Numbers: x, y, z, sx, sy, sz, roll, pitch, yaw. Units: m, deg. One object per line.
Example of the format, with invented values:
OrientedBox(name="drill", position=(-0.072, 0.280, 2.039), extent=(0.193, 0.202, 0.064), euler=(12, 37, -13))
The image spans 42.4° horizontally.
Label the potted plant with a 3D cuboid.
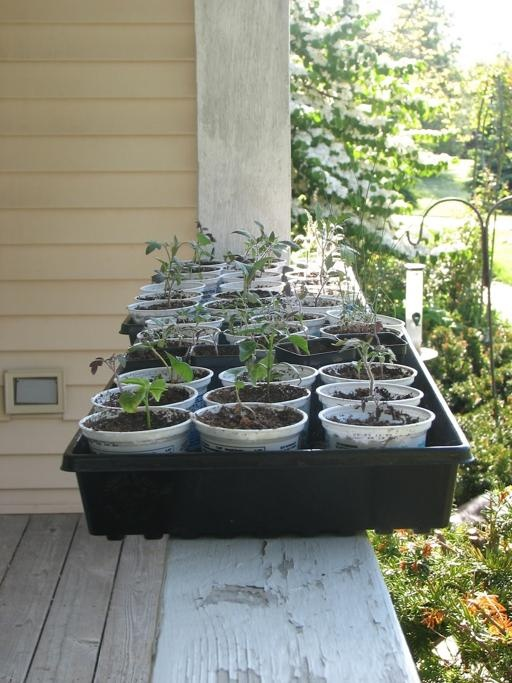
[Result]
OrientedBox(name="potted plant", position=(0.026, -0.057, 1.175), extent=(0.405, 0.217, 0.641), euler=(0, 12, 1))
